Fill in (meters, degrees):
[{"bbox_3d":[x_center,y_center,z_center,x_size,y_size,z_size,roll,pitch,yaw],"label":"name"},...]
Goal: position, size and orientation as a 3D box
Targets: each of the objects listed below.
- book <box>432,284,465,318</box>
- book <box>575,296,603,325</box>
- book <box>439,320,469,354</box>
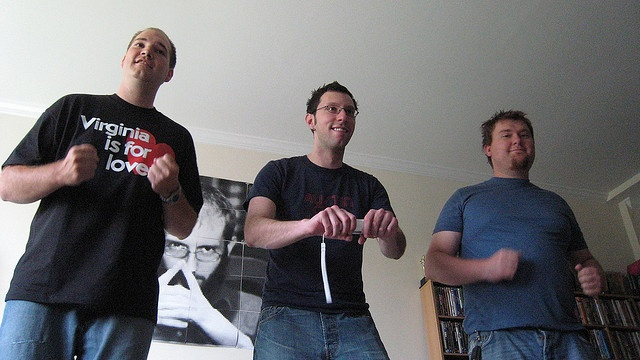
[{"bbox_3d":[1.272,1.227,4.422,0.343,0.301,0.237,8,-33,-13],"label":"book"},{"bbox_3d":[2.895,1.425,4.733,0.303,0.268,0.067,-8,-25,-14],"label":"book"},{"bbox_3d":[1.270,1.494,4.275,0.234,0.378,0.378,-1,-17,-7],"label":"book"}]
